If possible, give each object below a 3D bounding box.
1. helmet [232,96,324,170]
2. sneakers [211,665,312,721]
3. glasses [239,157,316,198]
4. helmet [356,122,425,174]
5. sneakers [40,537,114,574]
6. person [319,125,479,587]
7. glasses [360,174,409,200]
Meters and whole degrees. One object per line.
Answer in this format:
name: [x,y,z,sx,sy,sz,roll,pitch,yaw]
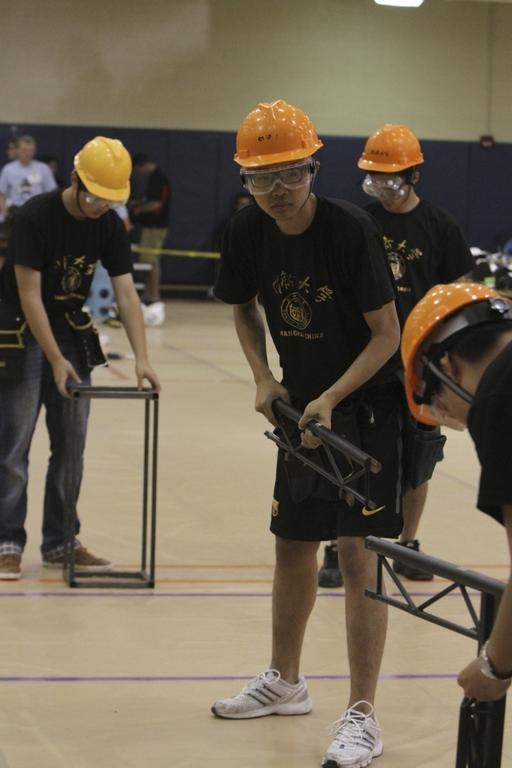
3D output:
helmet: [0.050,-0.637,2.181,0.250,0.145,0.290,-5,17,10]
sneakers: [0.020,0.819,2.326,0.271,0.107,0.104,0,-1,-9]
glasses: [0.035,-0.483,2.062,0.192,0.099,0.159,4,6,16]
helmet: [0.546,-0.966,3.512,0.316,0.150,0.259,-26,39,-38]
sneakers: [-0.716,0.677,3.465,0.341,0.125,0.116,2,2,3]
person: [0.541,-0.012,3.479,0.816,1.977,0.666,1,14,5]
glasses: [0.482,-0.743,3.295,0.102,0.063,0.126,2,-7,28]
